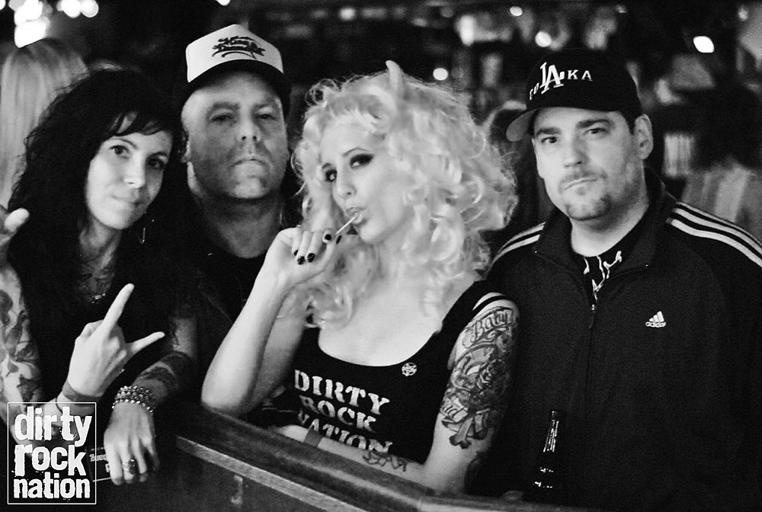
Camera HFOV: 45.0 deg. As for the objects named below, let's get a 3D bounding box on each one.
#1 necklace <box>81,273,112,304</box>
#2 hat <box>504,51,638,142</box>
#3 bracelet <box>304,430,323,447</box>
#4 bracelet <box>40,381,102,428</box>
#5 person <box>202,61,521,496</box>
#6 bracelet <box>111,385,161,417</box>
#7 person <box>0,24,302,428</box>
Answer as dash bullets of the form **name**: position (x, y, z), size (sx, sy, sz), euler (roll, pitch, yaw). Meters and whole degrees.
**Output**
- **necklace**: position (-1.388, 0.170, 4.515), size (0.118, 0.154, 0.136), euler (3, -1, -2)
- **hat**: position (0.873, -0.675, 4.002), size (0.418, 0.233, 0.322), euler (4, 3, 3)
- **bracelet**: position (-0.303, 0.813, 4.073), size (0.053, 0.057, 0.013), euler (20, -36, 17)
- **bracelet**: position (-1.473, 0.716, 4.374), size (0.271, 0.103, 0.201), euler (-6, -9, -19)
- **person**: position (-0.032, 0.094, 4.065), size (1.249, 1.815, 0.447), euler (1, -9, 8)
- **bracelet**: position (-1.121, 0.662, 4.199), size (0.194, 0.126, 0.070), euler (1, -9, 8)
- **person**: position (-1.048, -0.158, 4.327), size (1.210, 1.685, 0.655), euler (1, 12, -5)
